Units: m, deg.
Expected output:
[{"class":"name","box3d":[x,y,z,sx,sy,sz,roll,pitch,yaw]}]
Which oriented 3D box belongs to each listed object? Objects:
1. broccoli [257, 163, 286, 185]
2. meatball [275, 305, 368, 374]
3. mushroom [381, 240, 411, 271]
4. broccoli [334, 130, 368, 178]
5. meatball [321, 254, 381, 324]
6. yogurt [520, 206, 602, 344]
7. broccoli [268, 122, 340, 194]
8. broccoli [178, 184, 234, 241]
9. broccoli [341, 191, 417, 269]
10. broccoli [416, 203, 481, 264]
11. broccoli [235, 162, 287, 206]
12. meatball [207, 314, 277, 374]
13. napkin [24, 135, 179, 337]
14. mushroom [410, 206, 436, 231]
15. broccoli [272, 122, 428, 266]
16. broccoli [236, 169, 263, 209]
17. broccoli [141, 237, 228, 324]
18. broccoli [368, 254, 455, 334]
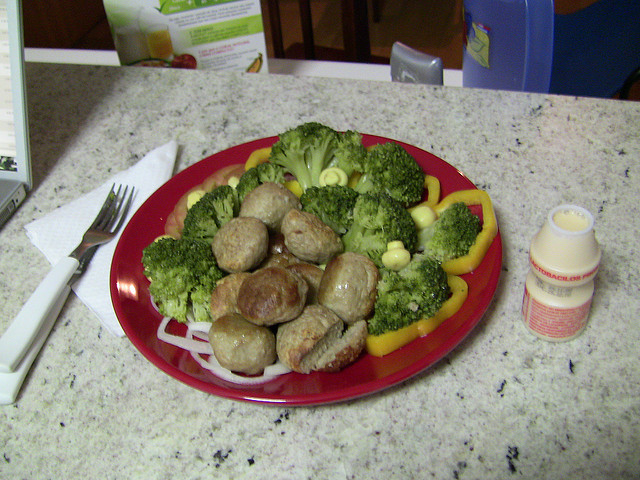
[{"class":"broccoli","box3d":[-0.112,-0.149,1.232,0.048,0.019,0.055,-1,81,-14]},{"class":"meatball","box3d":[0.000,0.189,1.007,0.134,0.060,0.127,35,65,29]},{"class":"mushroom","box3d":[0.146,0.033,1.085,0.050,0.053,0.056,-1,83,-10]},{"class":"broccoli","box3d":[0.075,-0.188,1.237,0.041,0.105,0.064,-2,37,-1]},{"class":"meatball","box3d":[0.064,0.090,1.100,0.128,0.119,0.120,-1,26,-7]},{"class":"yogurt","box3d":[0.451,0.061,1.031,0.115,0.268,0.127,7,45,19]},{"class":"broccoli","box3d":[-0.030,-0.183,1.341,0.156,0.183,0.163,-4,7,3]},{"class":"broccoli","box3d":[-0.231,-0.051,1.179,0.090,0.050,0.121,3,58,56]},{"class":"broccoli","box3d":[0.120,-0.020,1.172,0.108,0.148,0.180,3,32,8]},{"class":"broccoli","box3d":[0.272,-0.010,1.111,0.086,0.062,0.115,31,58,33]},{"class":"broccoli","box3d":[-0.122,-0.147,1.250,0.109,0.098,0.046,-17,73,2]},{"class":"meatball","box3d":[-0.147,0.178,1.054,0.089,0.102,0.127,-4,19,-21]},{"class":"napkin","box3d":[-0.502,-0.011,1.276,0.365,0.034,0.381,31,67,26]},{"class":"mushroom","box3d":[0.224,-0.038,1.195,0.047,0.043,0.055,33,96,20]},{"class":"broccoli","box3d":[0.055,-0.123,1.233,0.259,0.159,0.358,-31,62,-19]},{"class":"broccoli","box3d":[-0.153,-0.117,1.216,0.058,0.026,0.082,-14,55,30]},{"class":"broccoli","box3d":[-0.279,0.097,1.095,0.146,0.048,0.167,8,73,-9]},{"class":"broccoli","box3d":[0.176,0.098,1.052,0.187,0.057,0.115,-15,45,-5]}]
